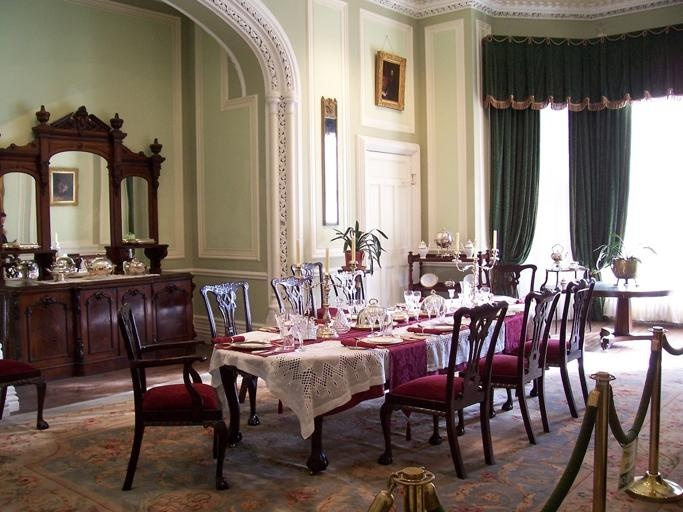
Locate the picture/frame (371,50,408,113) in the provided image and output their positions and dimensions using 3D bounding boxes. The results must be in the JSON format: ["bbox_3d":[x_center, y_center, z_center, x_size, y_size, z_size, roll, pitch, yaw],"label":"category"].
[{"bbox_3d":[0.707,-2.509,7.439,0.609,0.767,0.072,-4,5,-42],"label":"picture/frame"}]

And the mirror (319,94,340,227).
[{"bbox_3d":[-0.155,-1.220,6.719,0.317,1.648,0.056,-4,5,-42],"label":"mirror"}]

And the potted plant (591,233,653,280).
[{"bbox_3d":[3.803,0.070,6.905,0.699,0.504,0.422,1,-2,15],"label":"potted plant"}]

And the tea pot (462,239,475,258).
[{"bbox_3d":[1.763,-0.087,7.358,0.232,0.258,0.167,1,-3,5],"label":"tea pot"}]

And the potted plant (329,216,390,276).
[{"bbox_3d":[0.253,-0.096,6.728,0.667,0.581,0.697,-2,-5,29],"label":"potted plant"}]

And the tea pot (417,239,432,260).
[{"bbox_3d":[1.231,-0.092,7.583,0.165,0.311,0.245,-7,-10,40],"label":"tea pot"}]

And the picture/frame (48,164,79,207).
[{"bbox_3d":[-3.294,-0.833,6.065,0.037,0.593,0.491,-2,-1,37],"label":"picture/frame"}]
